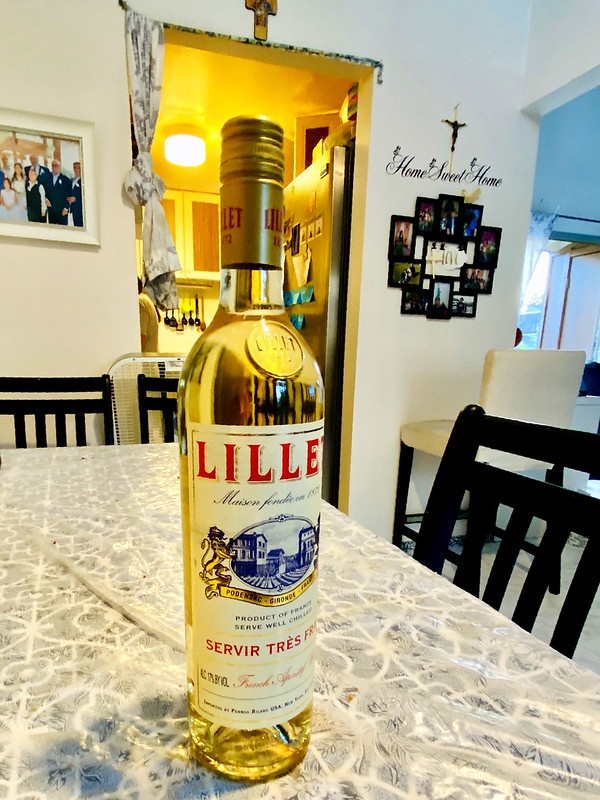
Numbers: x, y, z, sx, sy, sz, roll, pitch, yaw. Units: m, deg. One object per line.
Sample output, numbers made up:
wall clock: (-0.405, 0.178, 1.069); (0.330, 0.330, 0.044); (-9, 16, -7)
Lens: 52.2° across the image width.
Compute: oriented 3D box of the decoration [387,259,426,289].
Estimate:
decoration: (0.371, -0.439, 2.147); (0.131, 0.092, 0.027); (-7, 6, -26)

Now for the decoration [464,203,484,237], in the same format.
decoration: (0.621, -0.641, 2.207); (0.089, 0.125, 0.024); (-3, 11, -32)

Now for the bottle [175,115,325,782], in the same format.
bottle: (-0.022, 0.031, 0.355); (0.097, 0.365, 0.085); (1, 9, -11)

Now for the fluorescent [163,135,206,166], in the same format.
fluorescent: (-0.569, -1.234, 3.016); (0.184, 0.078, 0.190); (0, -7, -6)
